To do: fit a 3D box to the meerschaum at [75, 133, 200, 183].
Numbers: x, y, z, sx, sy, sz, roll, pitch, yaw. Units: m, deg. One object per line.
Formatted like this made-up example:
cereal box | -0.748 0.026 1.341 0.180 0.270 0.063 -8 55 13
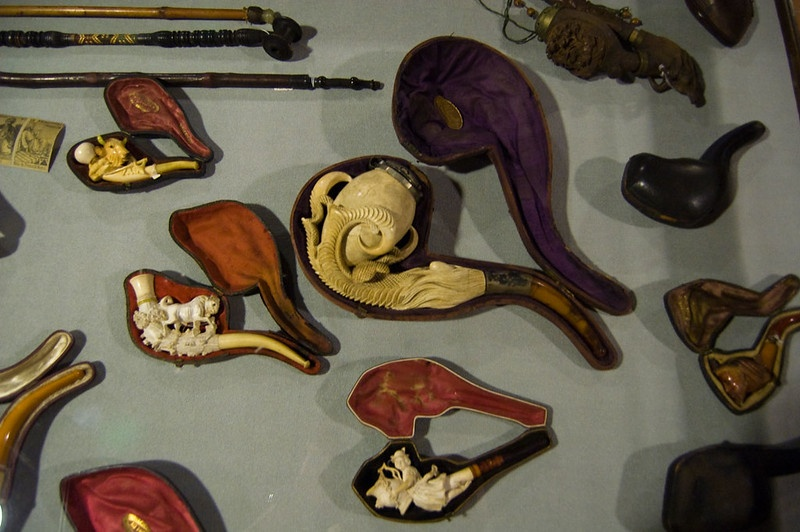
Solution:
meerschaum | -1.409 -0.566 4.960 0.607 0.349 0.147 -10 3 -7
